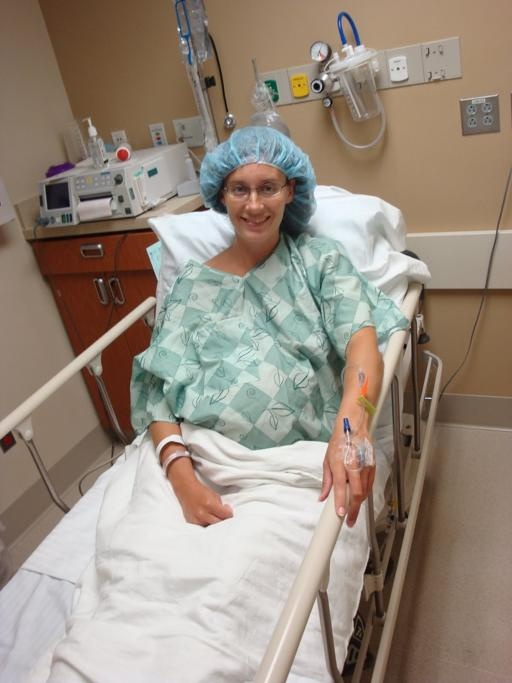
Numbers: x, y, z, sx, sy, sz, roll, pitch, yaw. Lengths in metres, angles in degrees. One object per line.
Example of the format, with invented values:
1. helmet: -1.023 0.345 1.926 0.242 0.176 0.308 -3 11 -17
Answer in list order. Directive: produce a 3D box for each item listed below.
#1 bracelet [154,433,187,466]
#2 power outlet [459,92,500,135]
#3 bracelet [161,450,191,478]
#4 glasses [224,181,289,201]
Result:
1. bracelet: -0.195 0.237 1.044 0.050 0.070 0.035 23 24 -16
2. power outlet: 0.707 -0.719 1.474 0.119 0.129 0.018 9 35 32
3. bracelet: -0.172 0.269 1.032 0.053 0.014 0.052 -51 31 -4
4. glasses: 0.002 -0.347 1.084 0.138 0.039 0.057 -10 24 3
